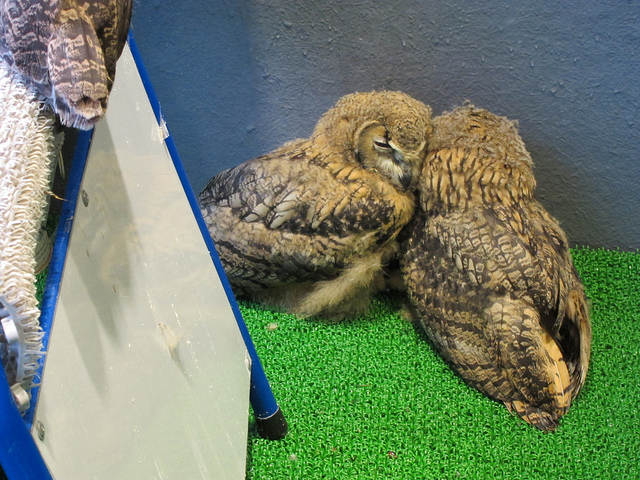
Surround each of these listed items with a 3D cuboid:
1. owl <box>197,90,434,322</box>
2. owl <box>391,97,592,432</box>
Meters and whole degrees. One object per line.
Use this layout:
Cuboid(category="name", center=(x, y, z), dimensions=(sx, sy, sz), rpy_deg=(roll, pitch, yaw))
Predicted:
Cuboid(category="owl", center=(-0.015, -0.104, 2.348), dimensions=(0.695, 0.545, 0.707), rpy_deg=(4, 92, -6))
Cuboid(category="owl", center=(0.483, 0.085, 2.058), dimensions=(0.478, 0.315, 0.896), rpy_deg=(-26, 75, -9))
